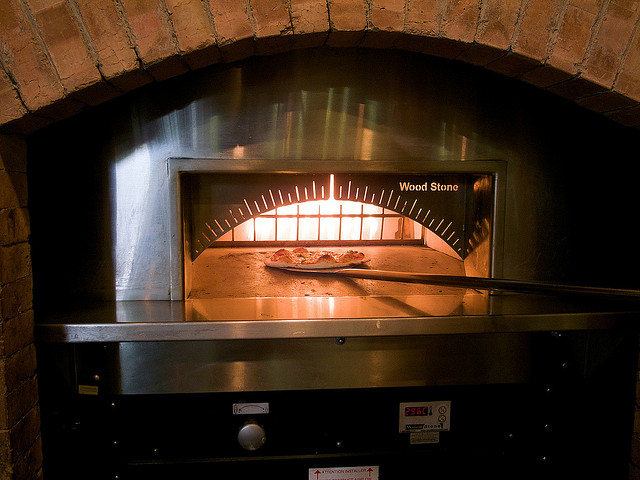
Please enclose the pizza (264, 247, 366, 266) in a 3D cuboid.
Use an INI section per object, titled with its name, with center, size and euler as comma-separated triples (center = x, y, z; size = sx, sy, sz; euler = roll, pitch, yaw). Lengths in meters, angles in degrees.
[pizza]
center = -0.040, 0.066, 2.470
size = 0.253, 0.033, 0.134
euler = -3, 7, -6
